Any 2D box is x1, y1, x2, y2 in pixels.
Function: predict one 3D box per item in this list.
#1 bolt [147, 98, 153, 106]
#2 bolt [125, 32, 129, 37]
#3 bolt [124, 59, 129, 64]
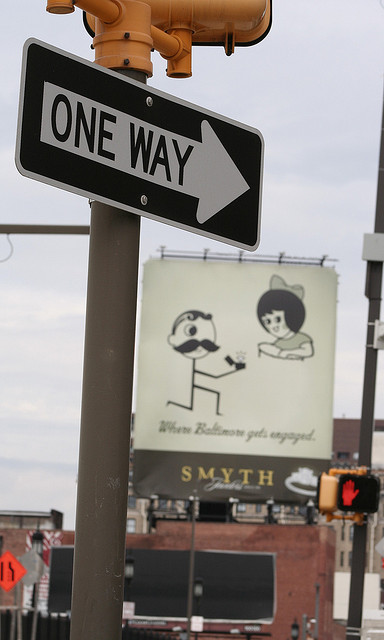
[{"bbox_3d":[-0.126,-0.656,4.318,0.002,0.020,0.021,-5,-12,44],"label":"bolt"},{"bbox_3d":[-0.195,-0.850,4.281,0.012,0.014,0.006,4,-8,-6],"label":"bolt"},{"bbox_3d":[-0.196,-0.771,4.284,0.016,0.019,0.009,-2,5,-9],"label":"bolt"}]
